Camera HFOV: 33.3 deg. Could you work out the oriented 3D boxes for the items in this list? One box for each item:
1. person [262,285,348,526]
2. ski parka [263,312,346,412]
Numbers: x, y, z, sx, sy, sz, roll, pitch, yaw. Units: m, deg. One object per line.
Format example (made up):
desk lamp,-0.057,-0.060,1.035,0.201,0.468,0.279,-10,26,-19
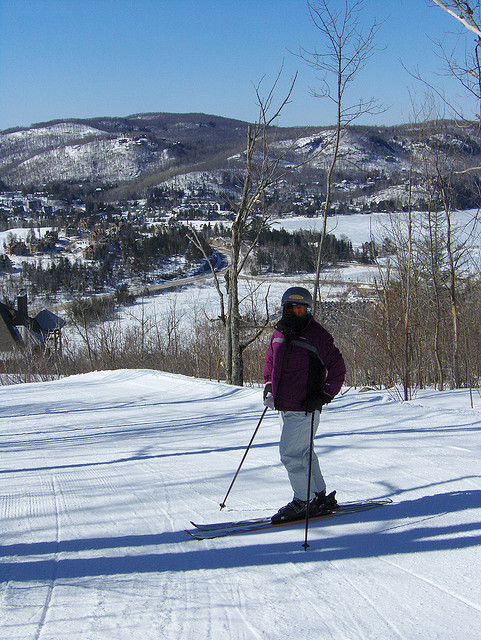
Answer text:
person,0.468,0.600,5.722,0.588,1.676,0.530,-2,3,0
ski parka,0.416,0.290,5.780,0.649,0.780,0.343,0,-12,34
